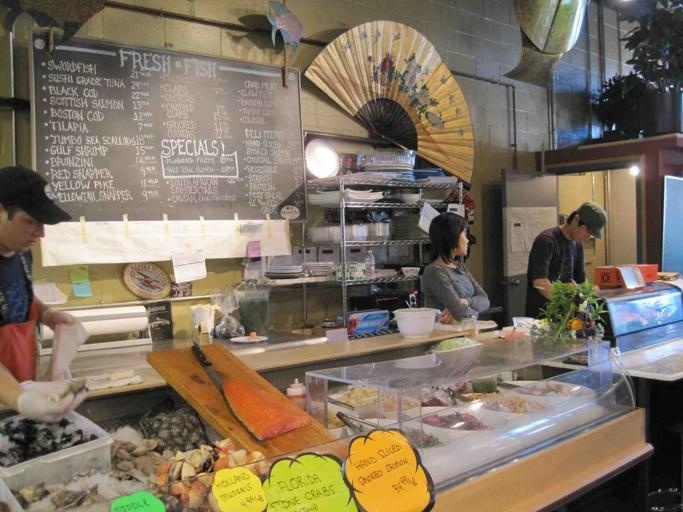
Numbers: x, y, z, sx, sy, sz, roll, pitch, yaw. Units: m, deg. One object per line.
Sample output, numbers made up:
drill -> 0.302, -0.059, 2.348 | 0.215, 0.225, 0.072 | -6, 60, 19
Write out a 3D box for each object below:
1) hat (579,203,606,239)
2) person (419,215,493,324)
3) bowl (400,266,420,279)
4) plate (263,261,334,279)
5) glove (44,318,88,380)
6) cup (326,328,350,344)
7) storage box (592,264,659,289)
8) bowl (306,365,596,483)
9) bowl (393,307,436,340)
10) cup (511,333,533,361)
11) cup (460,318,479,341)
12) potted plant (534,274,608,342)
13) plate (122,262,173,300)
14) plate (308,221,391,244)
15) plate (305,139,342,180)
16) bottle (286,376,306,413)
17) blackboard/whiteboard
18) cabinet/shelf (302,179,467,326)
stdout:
hat -> 1.971, -0.270, 4.038 | 0.205, 0.274, 0.271 | -2, 6, 24
person -> 0.766, 0.064, 3.543 | 0.425, 0.719, 0.567 | -3, 6, 19
bowl -> 0.616, 0.151, 4.595 | 0.187, 0.093, 0.056 | -7, 6, -29
plate -> -0.322, 0.129, 4.138 | 0.584, 0.122, 0.187 | -8, 6, -34
glove -> -1.117, 0.380, 2.042 | 0.100, 0.212, 0.158 | -2, 6, 21
cup -> -0.030, 0.545, 3.577 | 0.143, 0.199, 0.136 | 0, -5, 0
storage box -> 2.105, 0.144, 3.821 | 0.551, 0.152, 0.294 | -8, 7, -38
bowl -> 0.456, 0.518, 1.780 | 0.994, 0.337, 0.375 | -7, 6, -25
bowl -> 0.393, 0.360, 2.736 | 0.179, 0.104, 0.164 | -2, -2, 0
cup -> 0.724, 0.366, 2.033 | 0.070, 0.068, 0.128 | -3, -12, 6
cup -> 0.698, 0.400, 2.725 | 0.102, 0.143, 0.101 | -1, -4, 0
potted plant -> 1.307, 0.298, 2.887 | 0.324, 0.319, 0.237 | 5, -17, -2
plate -> -1.446, 0.187, 3.783 | 0.327, 0.278, 0.075 | -6, 6, -21
plate -> 0.085, -0.180, 4.356 | 0.718, 0.170, 0.414 | -5, 5, -6
plate -> -0.183, -0.861, 4.551 | 0.084, 0.357, 0.364 | -5, 3, 44
bottle -> -0.185, 0.523, 1.908 | 0.083, 0.149, 0.087 | 0, -3, 0
blackboard/whiteboard -> -1.339, -0.973, 3.771 | 1.779, 1.026, 0.026 | -4, 1, -37
cabinet/shelf -> 0.434, -0.184, 4.675 | 0.426, 1.062, 1.174 | -3, 10, -22
